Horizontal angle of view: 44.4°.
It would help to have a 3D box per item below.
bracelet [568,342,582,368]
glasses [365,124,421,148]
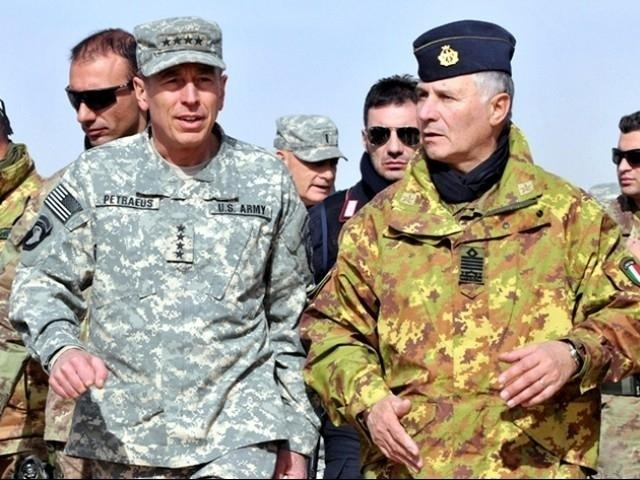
[{"bbox_3d":[1.267,0.581,3.901,0.024,0.094,0.096,-22,-48,1],"label":"bracelet"},{"bbox_3d":[0.586,-0.827,6.193,0.232,0.087,0.247,0,-23,4],"label":"glasses"}]
